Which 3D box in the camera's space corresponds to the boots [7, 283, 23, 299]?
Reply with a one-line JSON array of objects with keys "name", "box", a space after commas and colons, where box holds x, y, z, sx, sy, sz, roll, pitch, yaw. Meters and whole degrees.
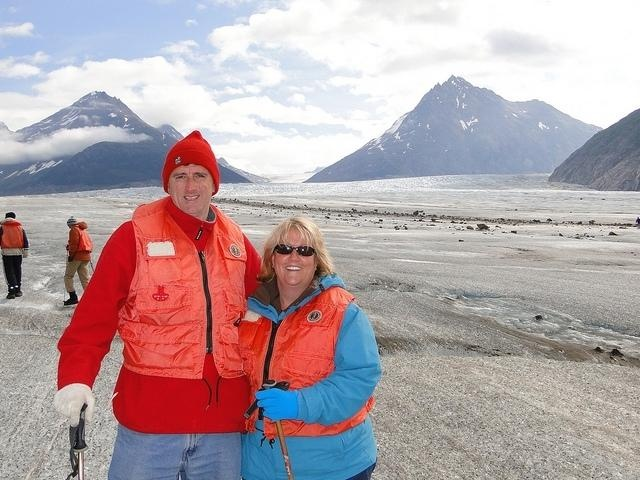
[{"name": "boots", "box": [-7.593, 1.258, 11.156, 0.349, 0.424, 0.366, -4, -3, 23]}]
